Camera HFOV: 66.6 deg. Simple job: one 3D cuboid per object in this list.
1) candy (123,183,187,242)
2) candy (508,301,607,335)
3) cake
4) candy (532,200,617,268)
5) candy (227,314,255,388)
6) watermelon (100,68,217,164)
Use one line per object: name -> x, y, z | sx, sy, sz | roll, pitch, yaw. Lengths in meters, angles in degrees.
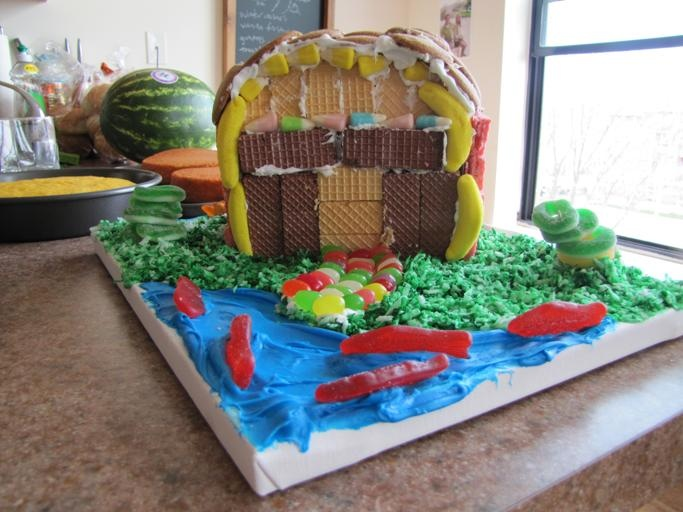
candy -> -0.363, -0.084, 1.023 | 0.114, 0.097, 0.113 | 3, 20, -4
candy -> 0.290, 0.079, 0.681 | 0.095, 0.023, 0.056 | -8, 6, 0
cake -> 0.016, -0.185, 0.950 | 0.528, 0.438, 0.118 | -1, 16, -1
candy -> 0.389, -0.038, 0.935 | 0.149, 0.097, 0.063 | 35, -8, 6
candy -> -0.124, 0.109, 0.615 | 0.022, 0.027, 0.104 | -9, 31, -13
watermelon -> -0.474, -0.456, 1.522 | 0.266, 0.222, 0.218 | 19, 48, 14
